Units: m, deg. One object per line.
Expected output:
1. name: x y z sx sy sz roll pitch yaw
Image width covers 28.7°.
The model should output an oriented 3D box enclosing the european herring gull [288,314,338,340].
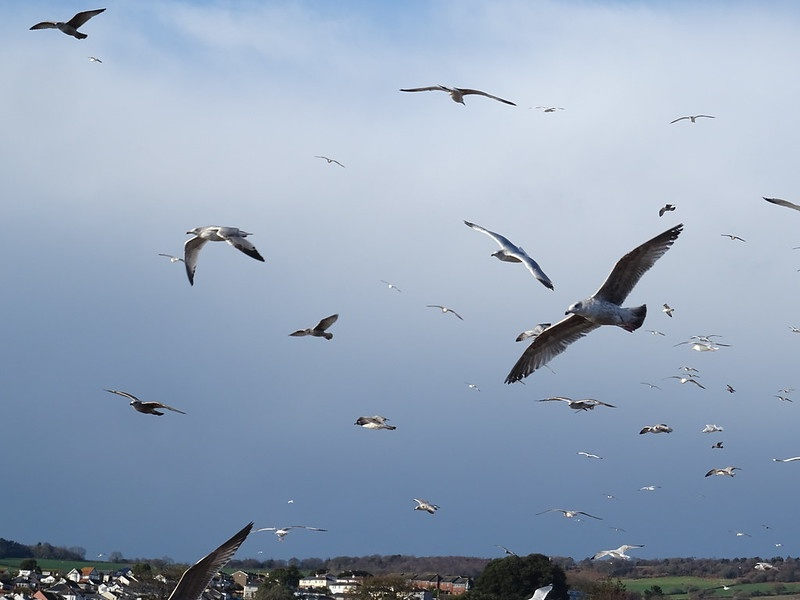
1. european herring gull: -6.975 2.475 138.745 3.851 0.600 2.089 -25 -27 34
